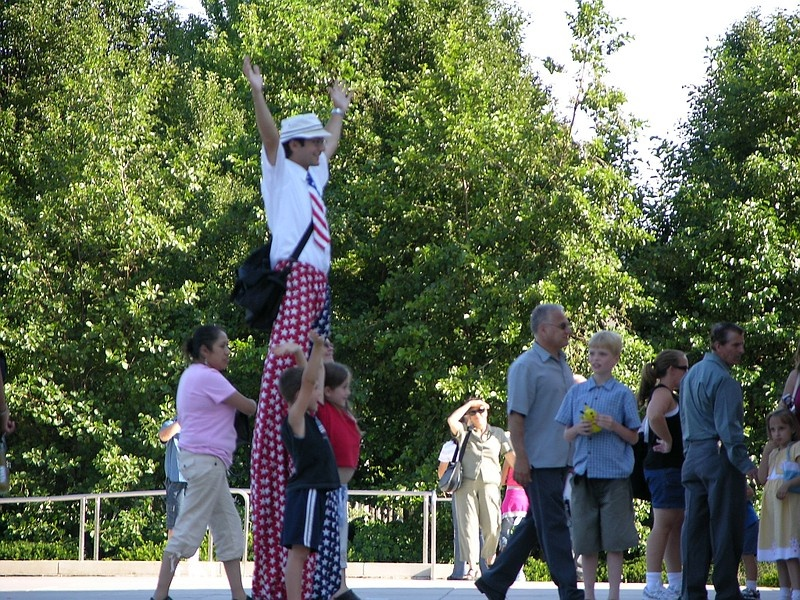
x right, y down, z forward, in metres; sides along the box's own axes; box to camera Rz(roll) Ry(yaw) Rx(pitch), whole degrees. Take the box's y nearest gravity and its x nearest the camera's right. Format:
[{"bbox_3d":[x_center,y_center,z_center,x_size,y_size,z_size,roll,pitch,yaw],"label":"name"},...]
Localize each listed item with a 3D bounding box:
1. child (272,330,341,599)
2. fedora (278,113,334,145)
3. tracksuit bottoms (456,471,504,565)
[{"bbox_3d":[-1.193,2.153,19.209,0.876,3.225,0.977,-4,-6,44],"label":"child"},{"bbox_3d":[-1.314,-2.256,19.642,0.473,0.177,0.391,-9,4,30],"label":"fedora"},{"bbox_3d":[1.336,3.619,24.921,0.581,1.520,0.587,-2,-5,2],"label":"tracksuit bottoms"}]
